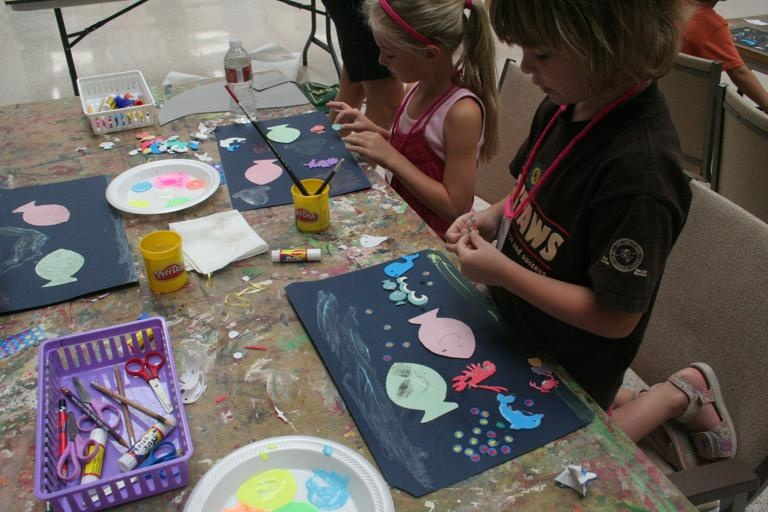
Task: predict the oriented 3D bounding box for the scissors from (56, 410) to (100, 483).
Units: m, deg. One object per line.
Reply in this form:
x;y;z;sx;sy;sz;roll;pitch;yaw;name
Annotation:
-0.642;0.410;1.199;0.069;0.021;0.118;-36;56;0;scissors

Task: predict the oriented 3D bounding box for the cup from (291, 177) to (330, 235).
-0.207;-0.141;1.748;0.144;0.159;0.143;0;41;0;cup

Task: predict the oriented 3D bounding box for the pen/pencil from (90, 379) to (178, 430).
-0.560;0.339;1.284;0.194;0.019;0.011;30;22;10;pen/pencil

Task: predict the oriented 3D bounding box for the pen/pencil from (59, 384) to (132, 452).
-0.636;0.362;1.256;0.193;0.014;0.020;35;18;17;pen/pencil

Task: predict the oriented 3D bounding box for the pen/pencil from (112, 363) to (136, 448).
-0.584;0.345;1.283;0.014;0.015;0.204;-30;53;-5;pen/pencil

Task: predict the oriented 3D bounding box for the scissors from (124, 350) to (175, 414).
-0.539;0.282;1.335;0.088;0.023;0.165;-20;49;-37;scissors

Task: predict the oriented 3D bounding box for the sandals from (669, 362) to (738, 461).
0.868;0.403;1.568;0.083;0.110;0.274;-3;68;-46;sandals

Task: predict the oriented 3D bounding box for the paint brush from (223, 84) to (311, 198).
-0.417;-0.396;2.010;0.098;0.039;0.766;10;28;-48;paint brush
